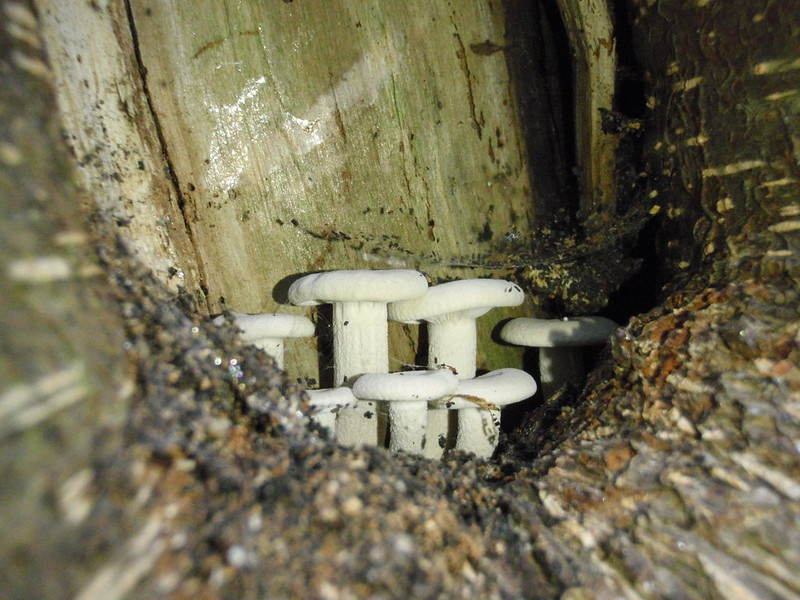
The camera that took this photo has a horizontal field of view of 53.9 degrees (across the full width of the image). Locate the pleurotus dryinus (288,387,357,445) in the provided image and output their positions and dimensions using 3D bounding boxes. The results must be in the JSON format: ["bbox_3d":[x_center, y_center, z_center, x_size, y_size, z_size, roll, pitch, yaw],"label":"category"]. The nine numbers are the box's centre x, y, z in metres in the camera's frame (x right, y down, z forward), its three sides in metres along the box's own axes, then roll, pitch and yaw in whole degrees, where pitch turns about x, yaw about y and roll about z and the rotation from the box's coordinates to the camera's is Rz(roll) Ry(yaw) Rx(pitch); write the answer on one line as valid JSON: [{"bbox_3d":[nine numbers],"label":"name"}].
[{"bbox_3d":[-0.304,0.471,3.304,0.206,0.220,0.095,-5,4,-24],"label":"pleurotus dryinus"}]
